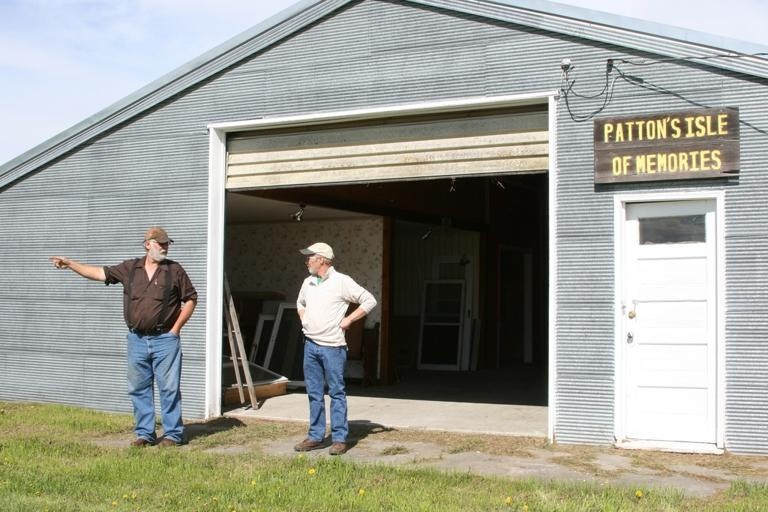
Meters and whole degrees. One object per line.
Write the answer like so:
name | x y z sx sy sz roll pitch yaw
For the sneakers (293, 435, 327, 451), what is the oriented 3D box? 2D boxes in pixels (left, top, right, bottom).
sneakers | -0.794 2.016 8.785 0.343 0.126 0.116 5 -9 -30

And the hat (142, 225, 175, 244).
hat | -2.511 -0.219 8.947 0.373 0.178 0.243 0 -4 10

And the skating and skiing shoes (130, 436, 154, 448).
skating and skiing shoes | -2.590 2.001 8.809 0.256 0.094 0.087 7 -3 -10

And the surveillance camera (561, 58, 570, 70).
surveillance camera | 2.019 -2.142 9.162 0.101 0.050 0.129 1 -10 8

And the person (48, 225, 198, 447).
person | -2.590 0.869 8.901 1.064 2.358 0.470 0 3 -9

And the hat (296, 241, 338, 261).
hat | -0.748 -0.079 8.900 0.381 0.151 0.243 6 -8 3

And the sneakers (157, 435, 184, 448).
sneakers | -2.309 2.016 8.905 0.115 0.082 0.218 0 -15 37

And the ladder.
ladder | -1.941 1.115 11.102 0.468 1.813 0.723 0 3 -11

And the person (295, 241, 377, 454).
person | -0.579 0.964 8.745 0.900 2.185 0.540 2 3 21

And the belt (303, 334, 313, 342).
belt | -0.822 0.879 8.790 0.098 0.065 0.090 1 -4 -3

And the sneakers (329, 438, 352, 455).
sneakers | -0.462 2.025 8.660 0.097 0.115 0.276 0 -11 18
